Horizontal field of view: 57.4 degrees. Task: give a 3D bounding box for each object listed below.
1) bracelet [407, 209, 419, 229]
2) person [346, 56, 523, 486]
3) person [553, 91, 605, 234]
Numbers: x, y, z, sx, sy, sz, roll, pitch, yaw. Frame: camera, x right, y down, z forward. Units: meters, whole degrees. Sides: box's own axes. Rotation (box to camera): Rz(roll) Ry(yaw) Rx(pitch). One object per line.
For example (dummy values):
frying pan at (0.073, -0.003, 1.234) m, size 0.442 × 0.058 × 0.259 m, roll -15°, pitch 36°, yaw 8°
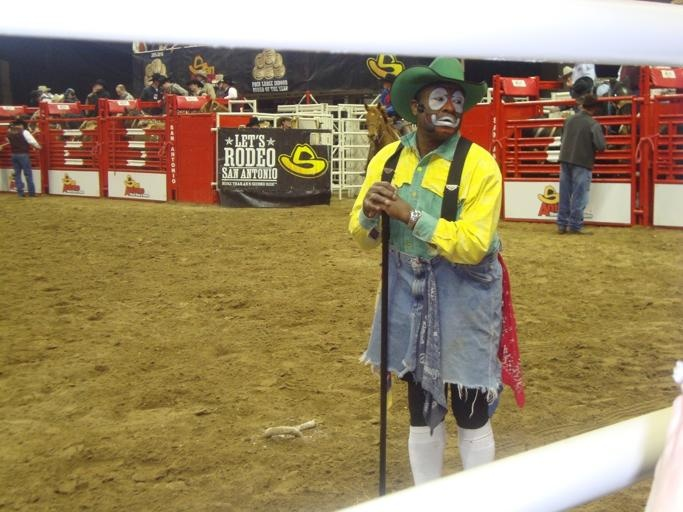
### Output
bracelet at (0.262, -0.121, 2.198) m, size 0.039 × 0.058 × 0.059 m, roll 11°, pitch 8°, yaw 15°
person at (0.374, 0.156, 2.444) m, size 0.696 × 1.805 × 0.469 m, roll 5°, pitch 15°, yaw 21°
person at (3.581, -1.365, 9.280) m, size 0.599 × 2.029 × 0.610 m, roll 1°, pitch 14°, yaw 5°
